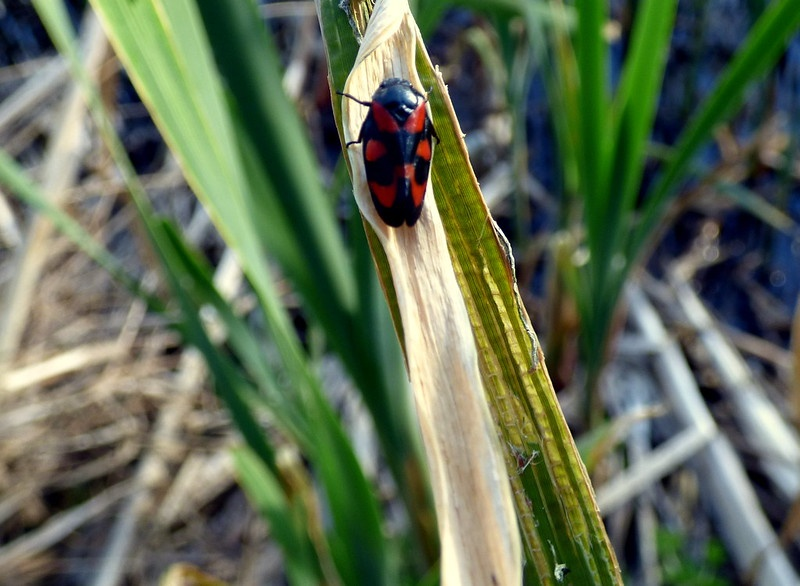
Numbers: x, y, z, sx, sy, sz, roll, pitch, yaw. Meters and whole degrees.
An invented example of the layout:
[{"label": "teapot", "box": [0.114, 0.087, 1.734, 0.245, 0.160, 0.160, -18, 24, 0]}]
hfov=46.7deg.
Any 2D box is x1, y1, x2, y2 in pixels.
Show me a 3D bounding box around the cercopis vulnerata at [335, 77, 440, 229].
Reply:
[{"label": "cercopis vulnerata", "box": [-0.001, -0.227, 1.513, 0.111, 0.078, 0.291, -2, 60, 1]}]
